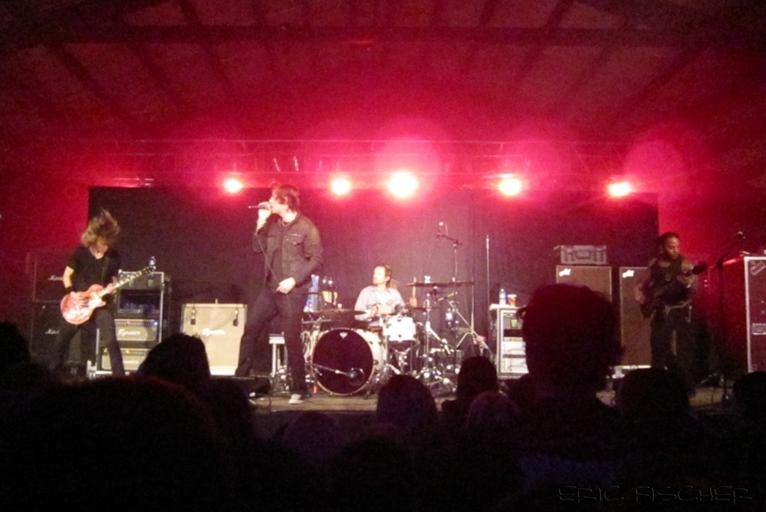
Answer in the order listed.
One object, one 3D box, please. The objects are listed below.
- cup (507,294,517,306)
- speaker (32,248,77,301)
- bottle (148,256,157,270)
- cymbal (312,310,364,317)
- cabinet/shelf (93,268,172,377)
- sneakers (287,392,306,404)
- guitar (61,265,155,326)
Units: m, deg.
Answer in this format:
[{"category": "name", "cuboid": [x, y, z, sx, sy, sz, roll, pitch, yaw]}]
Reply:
[{"category": "cup", "cuboid": [1.973, 0.674, 9.163, 0.202, 0.193, 0.164, 2, -7, -6]}, {"category": "speaker", "cuboid": [-4.348, 0.273, 7.888, 0.737, 0.691, 0.398, 0, 2, -17]}, {"category": "bottle", "cuboid": [-3.187, 0.096, 8.264, 0.151, 0.193, 0.048, 2, 21, -14]}, {"category": "cymbal", "cuboid": [-0.595, 0.719, 7.485, 0.314, 0.073, 0.316, -8, -8, 33]}, {"category": "cabinet/shelf", "cuboid": [-3.400, 0.918, 8.186, 0.827, 1.318, 0.799, 6, -11, -23]}, {"category": "sneakers", "cuboid": [-0.911, 1.508, 6.380, 0.126, 0.083, 0.181, -1, -10, 6]}, {"category": "guitar", "cuboid": [-3.304, 0.484, 7.171, 0.841, 0.288, 0.130, -29, 4, -28]}]
